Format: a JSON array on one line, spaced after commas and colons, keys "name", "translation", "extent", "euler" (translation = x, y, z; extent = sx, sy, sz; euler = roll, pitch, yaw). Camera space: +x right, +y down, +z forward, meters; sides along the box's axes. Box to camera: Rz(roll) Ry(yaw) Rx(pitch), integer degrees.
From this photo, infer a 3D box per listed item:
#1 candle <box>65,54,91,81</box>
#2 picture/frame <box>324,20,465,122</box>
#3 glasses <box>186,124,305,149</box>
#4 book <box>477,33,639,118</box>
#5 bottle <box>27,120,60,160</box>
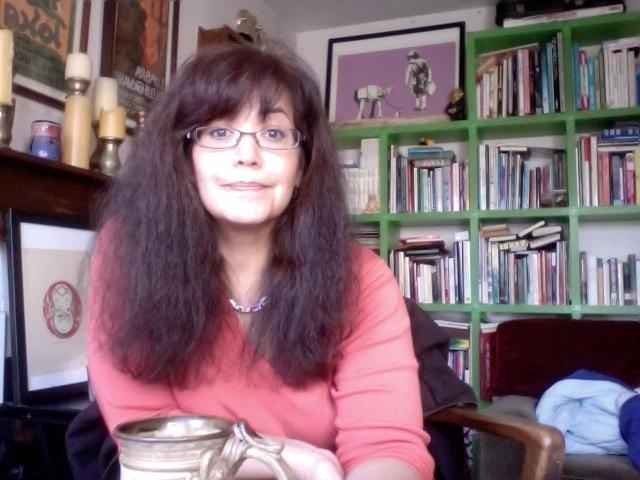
[{"name": "candle", "translation": [-0.858, -0.616, 1.933], "extent": [0.092, 0.101, 0.090], "euler": [-2, 12, -29]}, {"name": "picture/frame", "translation": [0.503, -1.046, 3.392], "extent": [1.110, 0.799, 0.048], "euler": [-3, -12, 23]}, {"name": "glasses", "translation": [-0.163, -0.228, 1.211], "extent": [0.233, 0.061, 0.047], "euler": [-1, -2, -5]}, {"name": "book", "translation": [1.291, -0.873, 2.879], "extent": [0.494, 0.273, 0.175], "euler": [-1, -3, 18]}, {"name": "bottle", "translation": [-0.941, -0.339, 1.853], "extent": [0.102, 0.131, 0.082], "euler": [-1, -2, -12]}]
